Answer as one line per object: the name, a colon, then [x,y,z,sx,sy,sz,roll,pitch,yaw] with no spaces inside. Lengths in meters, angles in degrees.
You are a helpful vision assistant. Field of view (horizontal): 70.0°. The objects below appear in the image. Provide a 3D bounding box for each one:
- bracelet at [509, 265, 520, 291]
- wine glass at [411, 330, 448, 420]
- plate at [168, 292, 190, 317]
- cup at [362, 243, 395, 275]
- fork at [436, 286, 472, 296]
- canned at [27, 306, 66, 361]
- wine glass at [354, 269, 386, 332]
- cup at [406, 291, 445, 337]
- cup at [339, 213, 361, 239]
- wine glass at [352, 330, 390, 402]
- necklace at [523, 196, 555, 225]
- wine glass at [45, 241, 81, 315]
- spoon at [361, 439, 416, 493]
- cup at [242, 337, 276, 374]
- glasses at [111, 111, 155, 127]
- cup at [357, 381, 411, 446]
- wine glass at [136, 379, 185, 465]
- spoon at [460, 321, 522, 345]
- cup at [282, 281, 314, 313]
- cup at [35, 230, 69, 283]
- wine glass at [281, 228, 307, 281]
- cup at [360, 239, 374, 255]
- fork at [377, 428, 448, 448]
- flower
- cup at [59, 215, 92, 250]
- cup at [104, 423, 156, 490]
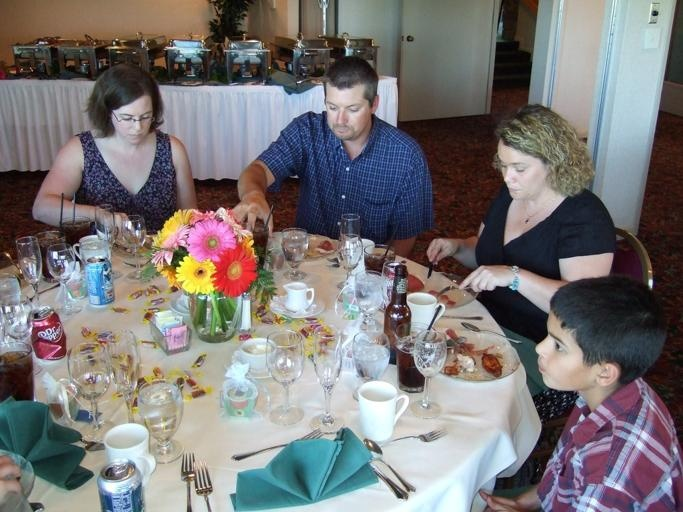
bracelet: [0.661,0.081,1.866,0.047,0.080,0.083,-2,16,10]
wine glass: [0.235,0.314,1.319,0.090,0.221,0.094,3,13,0]
plate: [-0.557,0.168,1.707,0.087,0.011,0.088,-17,44,-26]
cup: [0.142,0.003,1.812,0.093,0.081,0.106,1,13,1]
fork: [0.436,0.134,1.881,0.147,0.024,0.026,2,42,8]
canned: [-0.887,0.235,1.457,0.079,0.146,0.083,3,23,-5]
wine glass: [0.088,0.145,1.568,0.099,0.168,0.100,-7,12,-25]
cup: [0.264,0.177,1.581,0.115,0.094,0.092,1,26,-6]
cup: [0.036,-0.126,1.970,0.099,0.152,0.099,0,9,0]
wine glass: [0.085,0.304,1.339,0.099,0.161,0.097,4,9,22]
necklace: [0.833,-0.196,2.055,0.053,0.108,0.081,-42,70,-18]
wine glass: [-0.982,0.075,1.721,0.111,0.279,0.112,-6,23,-27]
spoon: [0.106,0.487,1.140,0.042,0.032,0.221,3,21,-23]
cup: [-0.237,0.279,1.452,0.106,0.089,0.120,3,25,5]
glasses: [-1.080,-0.711,2.514,0.189,0.067,0.090,-10,21,-25]
cup: [0.096,0.388,1.267,0.138,0.132,0.113,-3,18,-14]
wine glass: [-0.419,0.386,1.148,0.099,0.158,0.092,-5,11,-34]
spoon: [0.515,0.266,1.689,0.182,0.023,0.026,24,62,15]
cup: [-0.159,0.149,1.766,0.114,0.119,0.084,-3,30,-10]
cup: [-1.121,0.018,1.845,0.123,0.151,0.127,4,5,0]
wine glass: [-0.184,-0.017,1.909,0.115,0.196,0.118,10,19,33]
cup: [0.106,-0.041,1.971,0.052,0.046,0.058,5,18,17]
fork: [0.176,0.454,1.218,0.120,0.015,0.018,-13,42,-2]
flower: [-0.424,0.064,1.558,0.293,0.376,0.364,-12,38,-40]
cup: [-1.077,-0.094,1.963,0.094,0.092,0.107,-1,10,-21]
cup: [-0.436,0.413,1.003,0.110,0.105,0.072,27,30,29]
